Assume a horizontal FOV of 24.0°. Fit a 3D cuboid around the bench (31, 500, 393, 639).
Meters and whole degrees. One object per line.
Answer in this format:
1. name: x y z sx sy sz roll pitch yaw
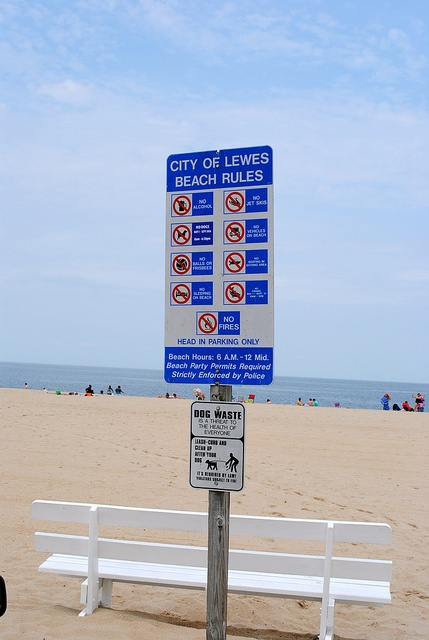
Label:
1. bench: -0.032 1.939 7.825 2.757 0.725 0.415 2 1 11
